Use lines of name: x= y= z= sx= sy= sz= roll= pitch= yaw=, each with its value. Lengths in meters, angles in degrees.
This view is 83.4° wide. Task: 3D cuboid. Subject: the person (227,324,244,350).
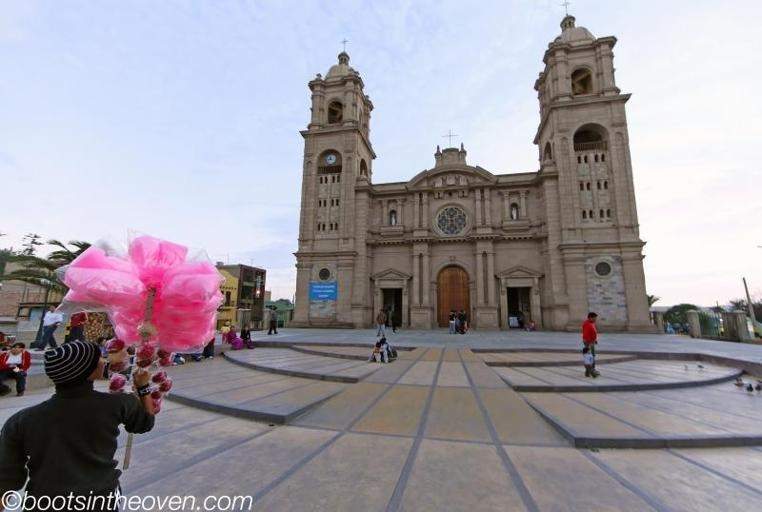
person: x=-5.390 y=3.010 z=15.671 sx=0.560 sy=0.667 sz=0.988 roll=-4 pitch=8 yaw=-26

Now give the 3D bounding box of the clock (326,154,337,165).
clock: x=-3.818 y=-7.443 z=32.733 sx=0.782 sy=0.832 sz=0.501 roll=0 pitch=8 yaw=0

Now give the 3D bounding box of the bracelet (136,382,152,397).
bracelet: x=-2.982 y=1.674 z=5.340 sx=0.125 sy=0.077 sz=0.157 roll=-5 pitch=-4 yaw=20

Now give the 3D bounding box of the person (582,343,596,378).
person: x=5.082 y=2.481 z=10.272 sx=0.298 sy=0.755 sz=0.900 roll=4 pitch=8 yaw=27
